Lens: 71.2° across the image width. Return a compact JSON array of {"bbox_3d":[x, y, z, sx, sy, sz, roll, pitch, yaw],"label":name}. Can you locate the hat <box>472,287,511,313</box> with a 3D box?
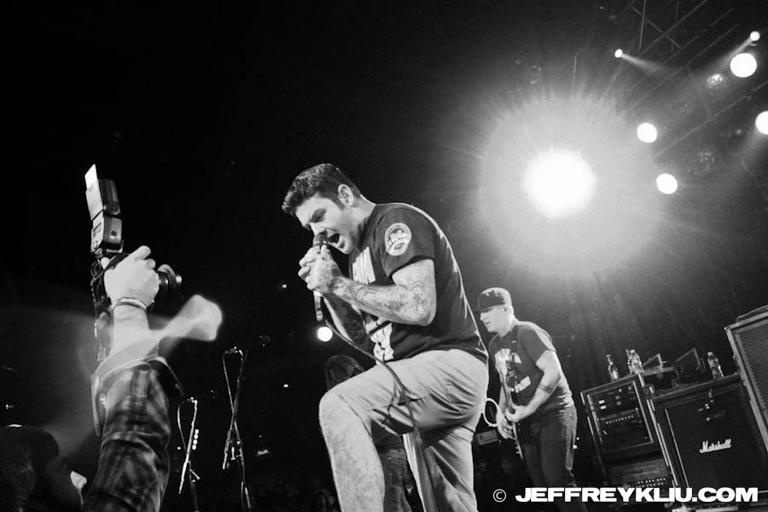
[{"bbox_3d":[1.424,0.544,7.051,0.405,0.217,0.305,-9,-13,-16],"label":"hat"}]

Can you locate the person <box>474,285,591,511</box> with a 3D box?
[{"bbox_3d":[1.801,1.594,6.689,0.905,2.476,0.670,-14,-27,14],"label":"person"}]
